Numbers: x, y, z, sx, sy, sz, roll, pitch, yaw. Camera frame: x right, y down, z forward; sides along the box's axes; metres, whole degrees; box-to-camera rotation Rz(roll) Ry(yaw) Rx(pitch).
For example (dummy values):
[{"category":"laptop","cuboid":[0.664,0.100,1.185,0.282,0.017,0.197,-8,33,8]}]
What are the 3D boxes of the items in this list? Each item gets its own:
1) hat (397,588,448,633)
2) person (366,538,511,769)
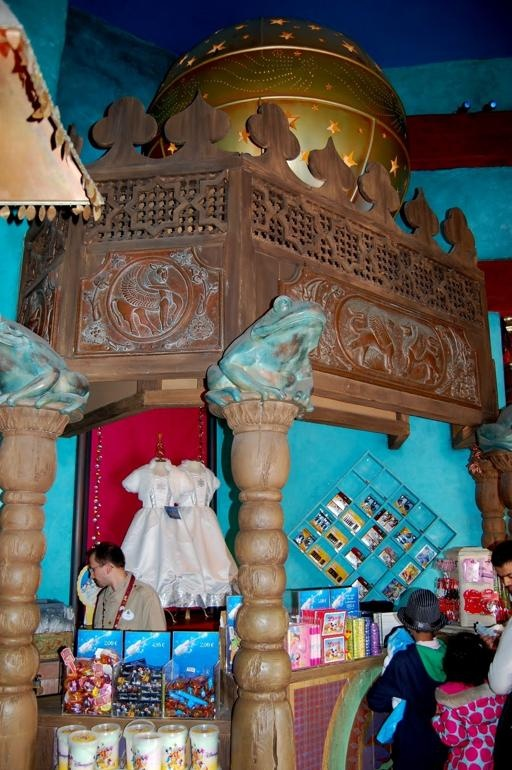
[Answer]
[{"category":"hat","cuboid":[0.845,1.162,3.304,0.237,0.204,0.203,-5,-16,11]},{"category":"person","cuboid":[1.005,1.414,3.520,0.743,0.999,0.947,-4,-16,8]}]
